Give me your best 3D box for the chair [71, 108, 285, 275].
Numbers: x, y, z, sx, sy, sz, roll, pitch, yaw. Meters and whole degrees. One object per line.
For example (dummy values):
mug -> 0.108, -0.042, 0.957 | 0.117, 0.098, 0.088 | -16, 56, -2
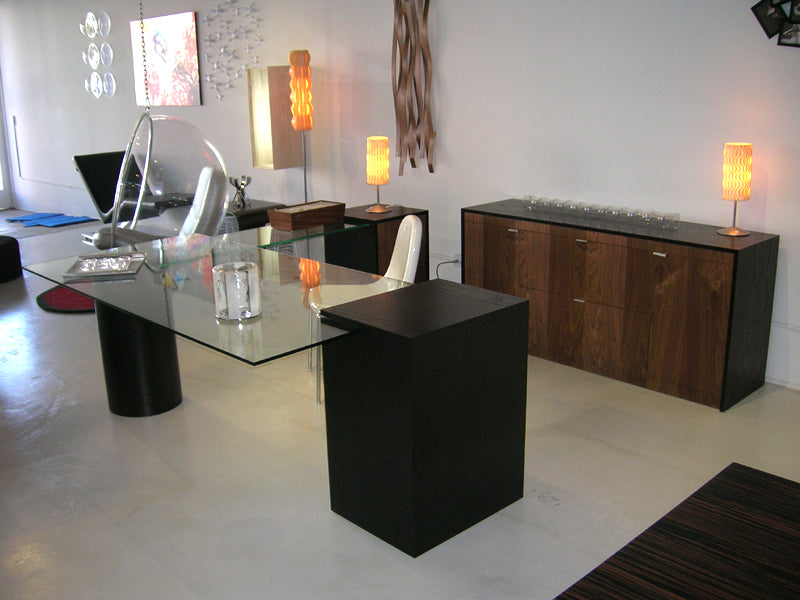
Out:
chair -> -1.632, -0.827, 4.232 | 0.749, 1.039, 1.056 | 16, 25, 37

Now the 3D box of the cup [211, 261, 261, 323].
cup -> -0.661, -0.018, 2.504 | 0.216, 0.253, 0.214 | 0, 15, 0

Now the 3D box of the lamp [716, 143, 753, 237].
lamp -> 2.045, -0.675, 3.615 | 0.184, 0.538, 0.385 | 7, 18, 28

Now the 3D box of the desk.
desk -> -0.397, 0.421, 2.750 | 1.685, 1.025, 1.201 | 11, 20, 37
